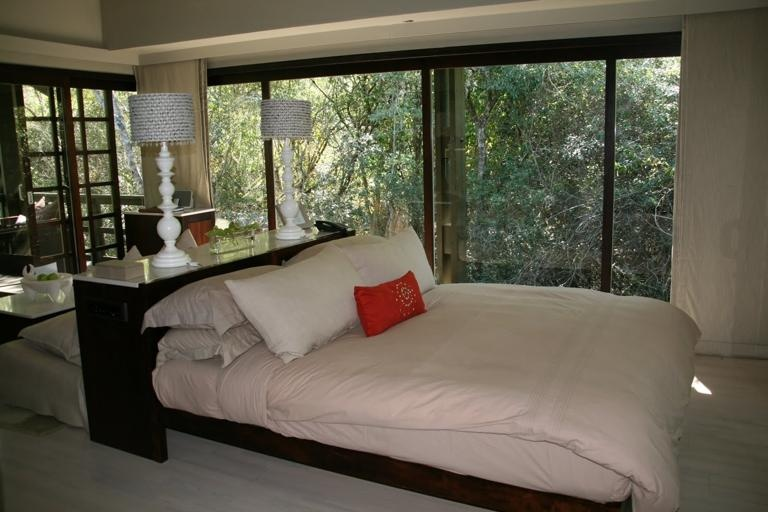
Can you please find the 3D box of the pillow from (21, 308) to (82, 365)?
[{"bbox_3d":[-2.553,0.602,4.202,0.437,0.141,0.463,11,15,18],"label":"pillow"}]

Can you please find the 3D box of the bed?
[{"bbox_3d":[0.129,0.604,4.148,4.335,1.373,1.913,1,11,18],"label":"bed"}]

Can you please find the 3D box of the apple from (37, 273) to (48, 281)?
[{"bbox_3d":[-3.042,0.184,4.854,0.068,0.057,0.058,10,-19,27],"label":"apple"}]

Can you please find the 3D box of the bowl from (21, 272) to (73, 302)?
[{"bbox_3d":[-2.995,0.266,4.905,0.394,0.207,0.398,1,5,0],"label":"bowl"}]

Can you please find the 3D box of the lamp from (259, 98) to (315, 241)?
[{"bbox_3d":[-0.860,-0.790,4.900,0.404,1.230,0.534,2,12,23],"label":"lamp"}]
